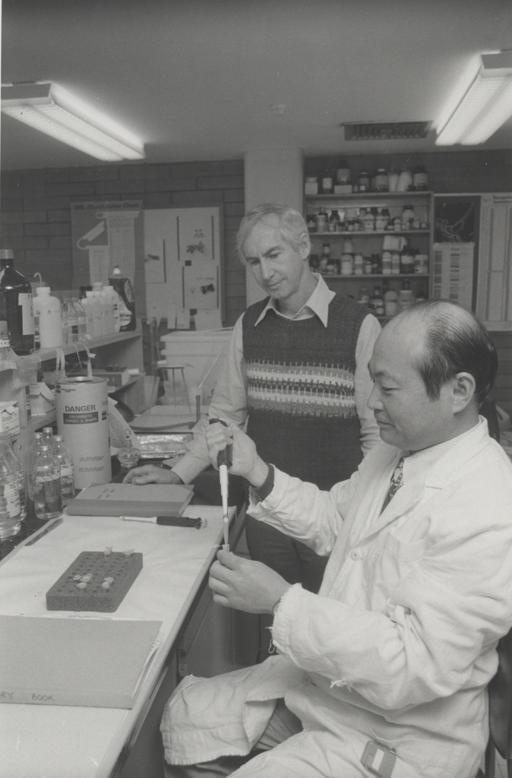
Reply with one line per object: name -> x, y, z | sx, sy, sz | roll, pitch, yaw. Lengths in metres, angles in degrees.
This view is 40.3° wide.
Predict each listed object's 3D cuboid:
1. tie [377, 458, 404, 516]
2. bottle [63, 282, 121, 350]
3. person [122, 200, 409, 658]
tie -> 0.183, 0.136, 0.950 | 0.012, 0.032, 0.080 | 30, 22, 6
bottle -> -0.580, -0.271, 2.485 | 0.097, 0.145, 0.267 | 0, 8, 5
person -> 0.042, 0.247, 1.669 | 0.672, 1.264, 0.405 | -4, 14, -4
